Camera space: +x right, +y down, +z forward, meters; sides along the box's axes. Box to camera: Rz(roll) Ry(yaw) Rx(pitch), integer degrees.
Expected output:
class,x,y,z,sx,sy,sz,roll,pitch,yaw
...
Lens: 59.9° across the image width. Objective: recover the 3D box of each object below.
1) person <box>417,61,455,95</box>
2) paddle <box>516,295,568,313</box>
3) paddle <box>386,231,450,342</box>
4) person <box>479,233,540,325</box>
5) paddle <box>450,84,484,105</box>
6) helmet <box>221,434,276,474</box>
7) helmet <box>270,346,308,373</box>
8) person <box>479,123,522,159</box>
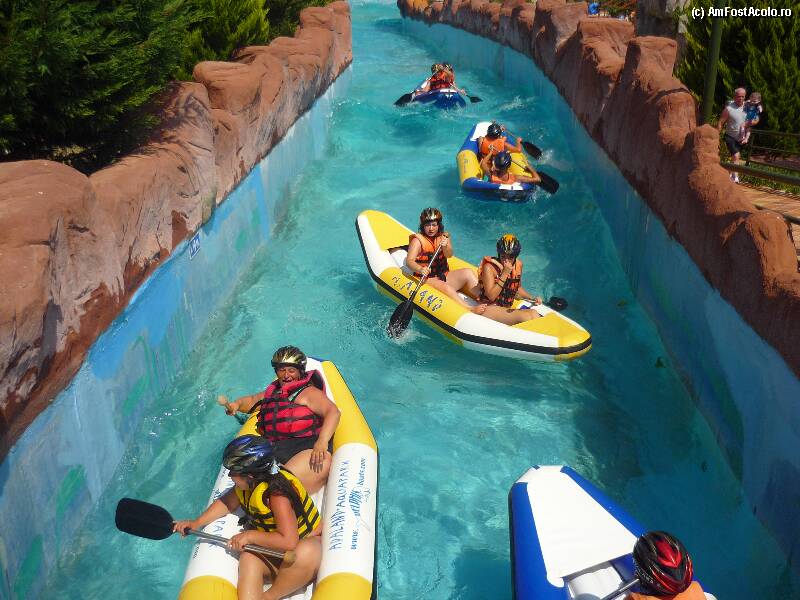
class,x,y,z,sx,sy,sz,roll,pitch,yaw
person,0.977,-5.415,17.087,0.615,0.360,1.165,-10,33,10
paddle,1.904,0.095,8.762,0.426,0.112,0.270,-3,43,25
paddle,0.316,-0.483,9.474,0.309,0.218,2.675,22,49,-1
person,1.362,-0.265,8.547,0.754,1.131,0.703,7,21,29
paddle,1.707,-5.317,18.011,0.226,0.619,1.737,-12,23,-3
helmet,-1.246,1.288,5.733,0.353,0.230,0.277,14,27,-17
helmet,-1.085,0.579,6.914,0.219,0.302,0.297,6,24,4
person,1.782,-2.773,12.837,0.540,0.394,0.976,9,50,11
